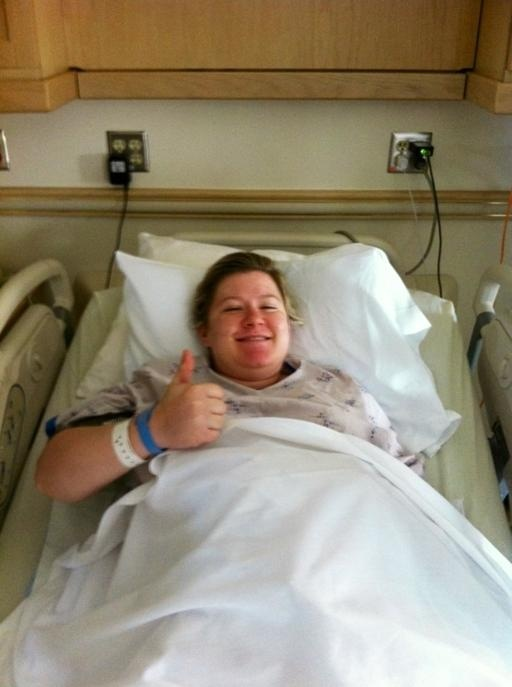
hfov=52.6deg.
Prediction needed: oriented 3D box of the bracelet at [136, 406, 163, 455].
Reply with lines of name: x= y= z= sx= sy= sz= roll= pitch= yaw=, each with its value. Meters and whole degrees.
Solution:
bracelet: x=-0.181 y=0.148 z=0.871 sx=0.054 sy=0.072 sz=0.028 roll=-1 pitch=-7 yaw=-34

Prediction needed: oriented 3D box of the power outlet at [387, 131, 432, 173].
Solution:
power outlet: x=0.494 y=-0.620 z=1.654 sx=0.118 sy=0.120 sz=0.062 roll=1 pitch=26 yaw=4
